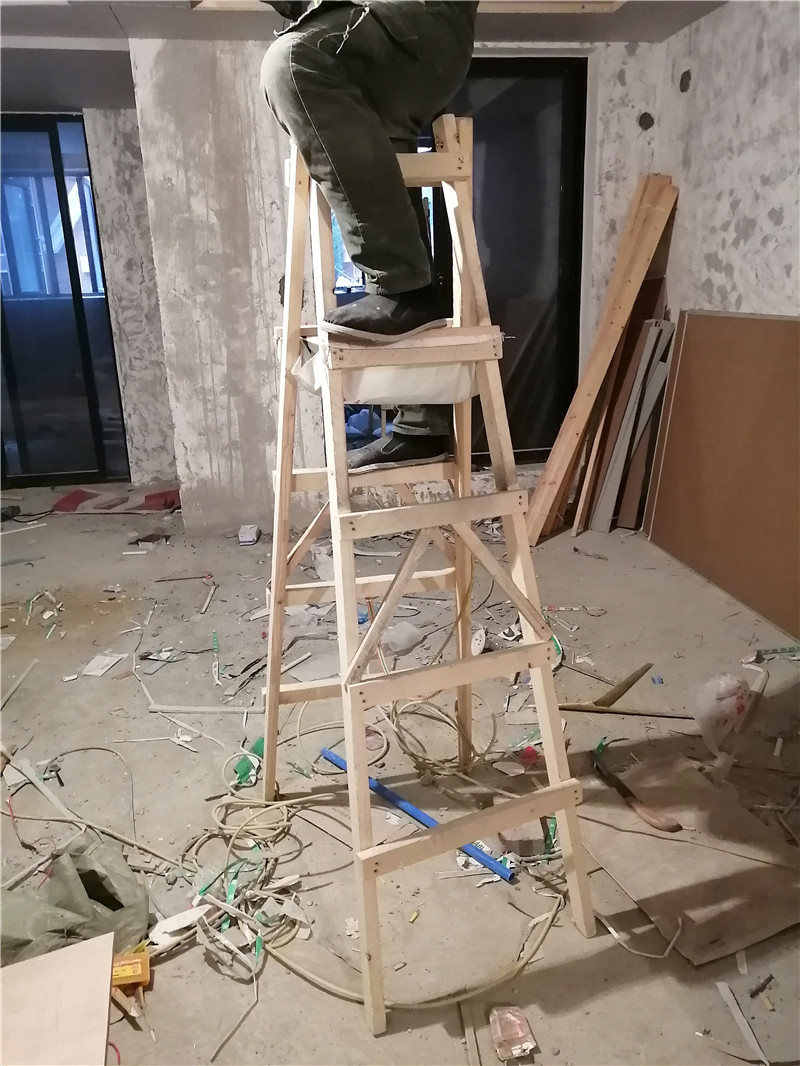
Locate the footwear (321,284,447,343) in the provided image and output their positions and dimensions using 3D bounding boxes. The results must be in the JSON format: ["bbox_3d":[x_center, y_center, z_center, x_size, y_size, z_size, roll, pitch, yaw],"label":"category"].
[{"bbox_3d":[-0.026,-0.416,1.645,0.255,0.104,0.099,-13,30,-23],"label":"footwear"}]

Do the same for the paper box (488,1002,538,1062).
[{"bbox_3d":[0.211,0.938,1.630,0.052,0.018,0.070,-3,27,-6],"label":"paper box"}]

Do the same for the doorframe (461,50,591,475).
[{"bbox_3d":[0.652,-1.354,4.538,0.577,1.993,0.090,12,40,25],"label":"doorframe"}]
